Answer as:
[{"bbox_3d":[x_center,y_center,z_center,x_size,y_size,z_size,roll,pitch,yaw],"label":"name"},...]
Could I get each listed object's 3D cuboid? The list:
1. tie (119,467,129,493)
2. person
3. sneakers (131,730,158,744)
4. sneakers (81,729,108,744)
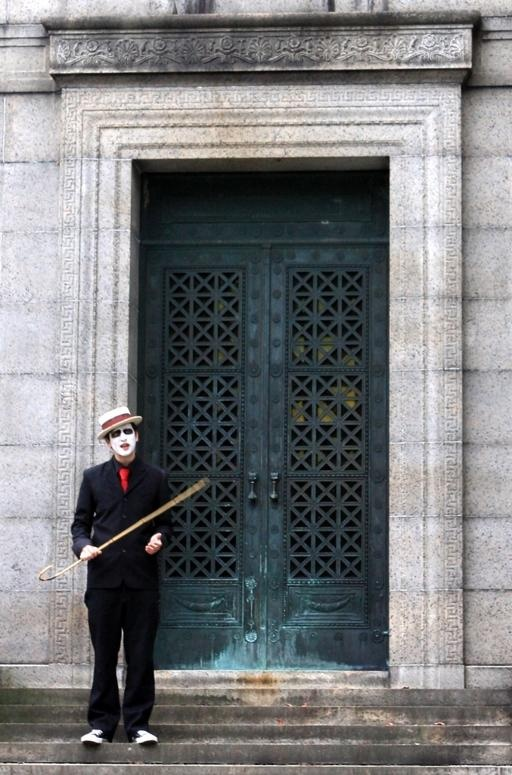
[{"bbox_3d":[-0.922,0.645,15.251,0.049,0.178,0.050,-3,-35,2],"label":"tie"},{"bbox_3d":[-0.944,1.302,15.177,0.684,2.343,0.435,2,-5,-5],"label":"person"},{"bbox_3d":[-0.760,2.396,15.042,0.173,0.086,0.075,-5,-11,19],"label":"sneakers"},{"bbox_3d":[-1.109,2.405,15.060,0.175,0.082,0.079,4,-26,8],"label":"sneakers"}]
